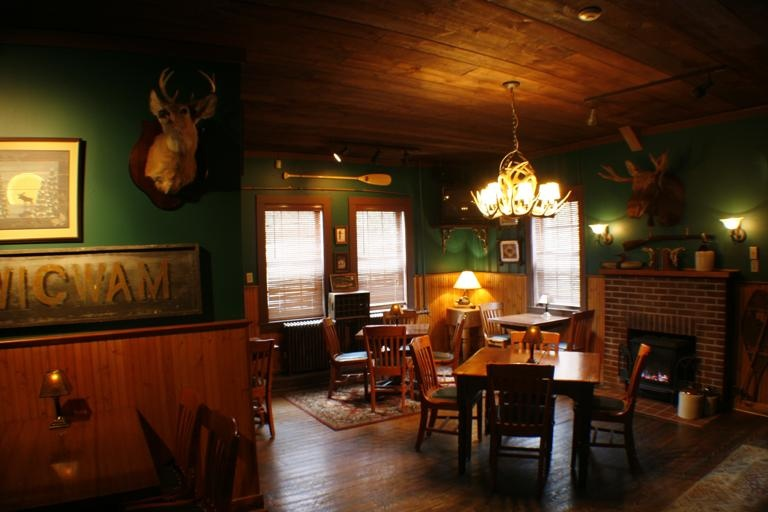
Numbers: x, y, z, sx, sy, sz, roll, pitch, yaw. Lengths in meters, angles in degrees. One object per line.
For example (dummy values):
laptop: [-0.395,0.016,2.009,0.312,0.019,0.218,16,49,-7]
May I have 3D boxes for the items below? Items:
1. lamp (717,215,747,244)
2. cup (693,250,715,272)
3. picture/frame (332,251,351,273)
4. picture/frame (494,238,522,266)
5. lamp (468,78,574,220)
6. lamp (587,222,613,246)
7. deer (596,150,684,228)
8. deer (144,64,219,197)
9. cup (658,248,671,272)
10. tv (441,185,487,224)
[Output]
lamp: [4.168,-0.316,6.671,0.318,0.403,0.282,0,-3,-23]
cup: [3.919,0.061,6.836,0.265,0.266,0.267,1,-3,0]
picture/frame: [-0.676,0.101,8.744,0.378,0.380,0.044,-2,4,-35]
picture/frame: [2.058,-0.066,9.212,0.058,0.397,0.497,4,-4,-35]
lamp: [1.526,-1.234,6.674,0.842,1.388,2.397,0,10,10]
lamp: [3.060,-0.311,7.852,0.342,0.364,0.269,-3,0,-20]
deer: [3.440,-0.876,7.434,0.349,0.939,0.984,-9,12,-30]
deer: [-1.712,-1.052,4.742,0.394,1.050,0.552,8,15,41]
cup: [3.588,0.044,7.156,0.093,0.253,0.177,-2,11,2]
tv: [1.269,-0.798,9.554,1.134,0.691,0.565,0,-2,-12]
